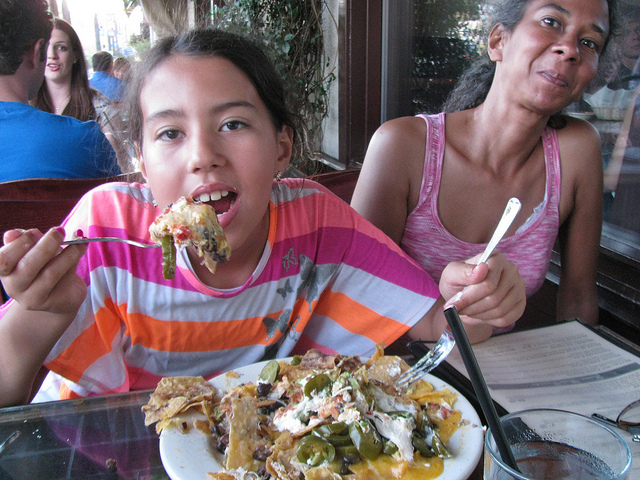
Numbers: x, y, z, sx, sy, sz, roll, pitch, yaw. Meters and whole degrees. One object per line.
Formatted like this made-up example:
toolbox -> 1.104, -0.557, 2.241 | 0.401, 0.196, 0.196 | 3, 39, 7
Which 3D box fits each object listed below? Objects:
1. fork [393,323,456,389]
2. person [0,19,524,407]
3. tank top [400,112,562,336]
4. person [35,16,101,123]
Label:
fork -> 0.272, 0.299, 1.314 | 0.042, 0.049, 0.330 | 17, 36, 20
person -> -0.233, -0.036, 1.472 | 1.272, 0.988, 0.828 | -5, 26, -16
tank top -> 0.652, -0.085, 2.050 | 0.628, 0.723, 0.487 | 7, 25, 11
person -> -1.947, -1.223, 3.870 | 0.462, 0.832, 0.396 | 1, 8, 9
